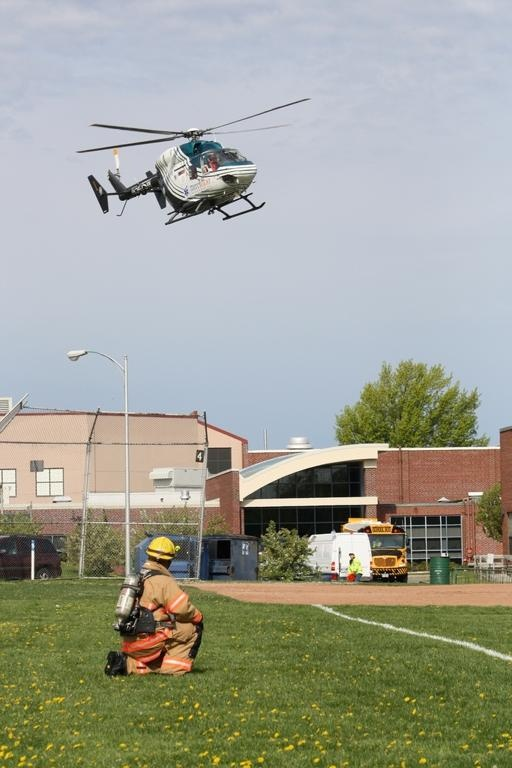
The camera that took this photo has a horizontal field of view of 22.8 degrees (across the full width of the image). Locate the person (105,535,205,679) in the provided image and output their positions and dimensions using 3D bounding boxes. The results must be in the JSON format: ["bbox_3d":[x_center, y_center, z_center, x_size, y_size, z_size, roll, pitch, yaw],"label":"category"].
[{"bbox_3d":[-0.967,2.134,12.111,0.873,1.325,0.858,-1,-9,-7],"label":"person"}]

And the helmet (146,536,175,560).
[{"bbox_3d":[-0.917,1.622,12.417,0.225,0.152,0.283,6,10,6],"label":"helmet"}]

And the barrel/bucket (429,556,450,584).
[{"bbox_3d":[5.324,5.397,36.621,0.788,0.778,0.777,0,-1,0],"label":"barrel/bucket"}]

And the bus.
[{"bbox_3d":[4.409,5.739,43.583,1.245,1.571,3.234,0,-10,-5],"label":"bus"}]

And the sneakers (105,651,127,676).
[{"bbox_3d":[-1.369,2.737,12.353,0.196,0.254,0.265,3,-17,-4],"label":"sneakers"}]
